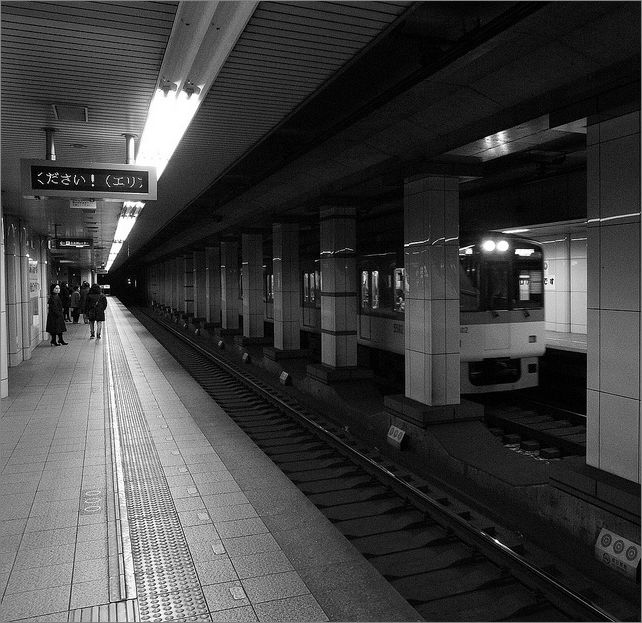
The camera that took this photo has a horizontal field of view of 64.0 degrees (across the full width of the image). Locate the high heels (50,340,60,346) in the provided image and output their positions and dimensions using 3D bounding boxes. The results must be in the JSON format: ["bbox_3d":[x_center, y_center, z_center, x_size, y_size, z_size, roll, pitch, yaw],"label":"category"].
[{"bbox_3d":[-9.277,1.093,17.798,0.140,0.196,0.427,-2,-2,-44],"label":"high heels"}]

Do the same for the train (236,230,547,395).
[{"bbox_3d":[0.348,-0.110,16.238,3.813,3.274,17.465,1,2,-18],"label":"train"}]

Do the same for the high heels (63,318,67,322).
[{"bbox_3d":[-14.151,0.423,28.395,0.161,0.217,0.537,2,-1,-23],"label":"high heels"}]
